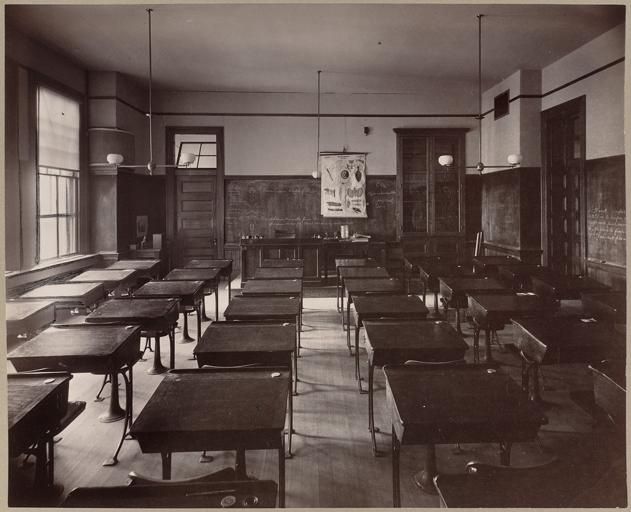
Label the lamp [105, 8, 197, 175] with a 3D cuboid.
[{"bbox_3d":[-2.802,-2.794,9.755,1.862,3.609,0.465,0,-1,-8],"label":"lamp"}]

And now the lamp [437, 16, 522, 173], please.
[{"bbox_3d":[2.742,-2.342,9.670,1.379,1.894,3.652,0,7,4],"label":"lamp"}]
